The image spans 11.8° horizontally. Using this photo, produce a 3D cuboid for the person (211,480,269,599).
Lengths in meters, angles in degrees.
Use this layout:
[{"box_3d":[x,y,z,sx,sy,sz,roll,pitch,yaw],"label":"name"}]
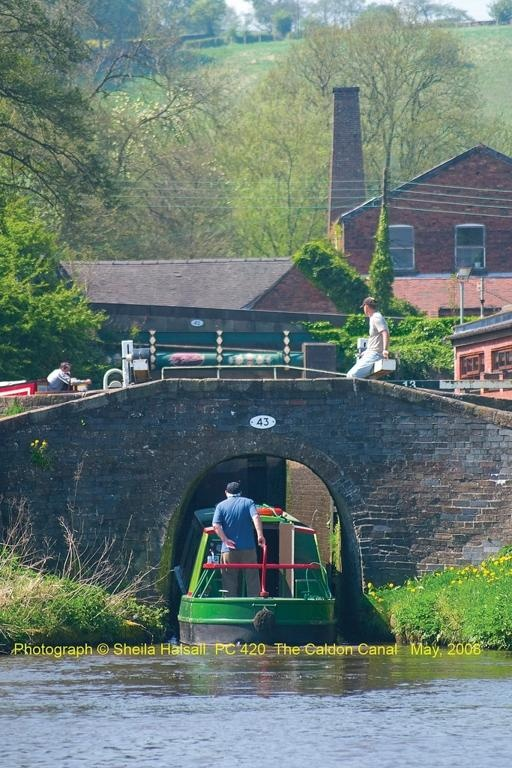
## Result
[{"box_3d":[-0.369,3.550,49.899,0.938,0.901,3.046,-6,63,4],"label":"person"}]
